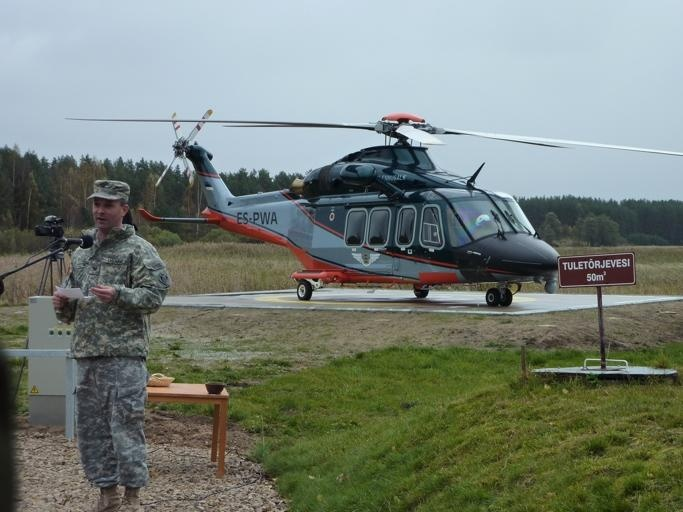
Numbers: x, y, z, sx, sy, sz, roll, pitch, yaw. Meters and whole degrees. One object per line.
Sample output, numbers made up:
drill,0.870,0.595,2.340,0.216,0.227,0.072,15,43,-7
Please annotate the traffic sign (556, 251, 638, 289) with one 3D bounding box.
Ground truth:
traffic sign,3.105,0.173,9.650,0.956,0.428,0.361,0,-1,26

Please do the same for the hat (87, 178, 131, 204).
hat,-2.139,-0.604,7.265,0.251,0.136,0.318,6,10,25

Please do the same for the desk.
desk,-1.812,1.941,8.819,1.113,0.676,1.017,3,-11,8

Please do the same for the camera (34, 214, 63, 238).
camera,-3.442,-0.339,9.271,0.399,0.291,0.222,-3,7,-43
